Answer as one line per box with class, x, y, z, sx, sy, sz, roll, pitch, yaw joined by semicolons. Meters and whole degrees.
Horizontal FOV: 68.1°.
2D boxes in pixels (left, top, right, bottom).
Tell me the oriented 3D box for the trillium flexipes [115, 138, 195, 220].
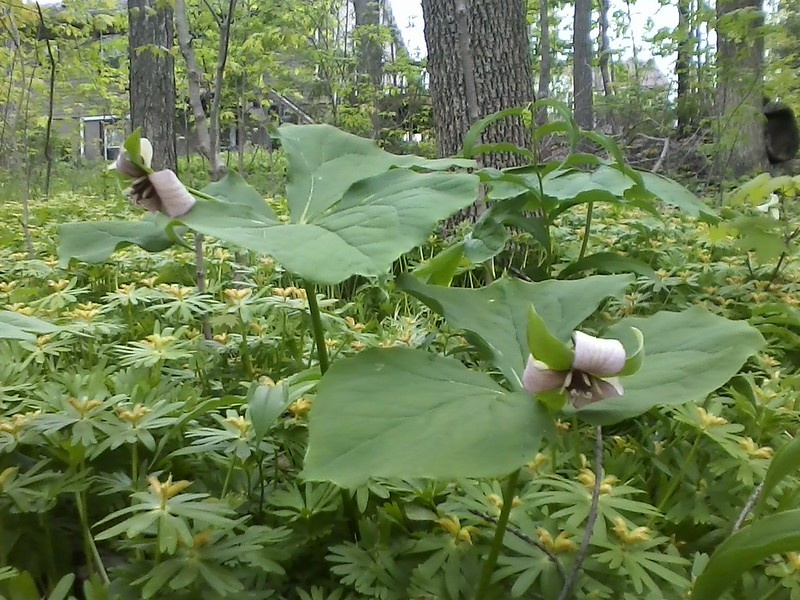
trillium flexipes;-0.768;-0.371;1.828;0.159;0.243;0.289;-10;13;-40
